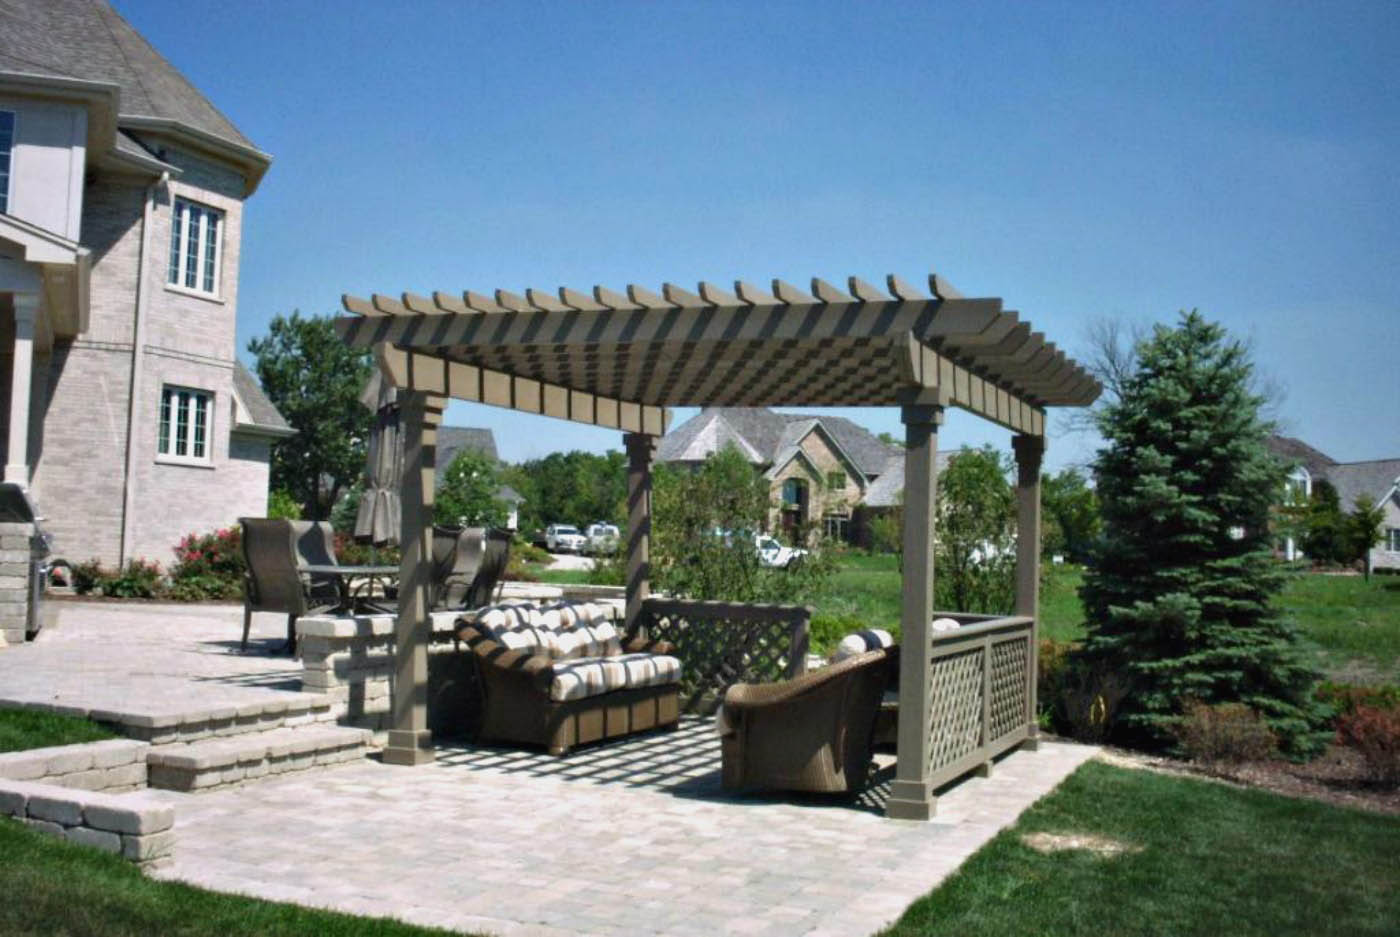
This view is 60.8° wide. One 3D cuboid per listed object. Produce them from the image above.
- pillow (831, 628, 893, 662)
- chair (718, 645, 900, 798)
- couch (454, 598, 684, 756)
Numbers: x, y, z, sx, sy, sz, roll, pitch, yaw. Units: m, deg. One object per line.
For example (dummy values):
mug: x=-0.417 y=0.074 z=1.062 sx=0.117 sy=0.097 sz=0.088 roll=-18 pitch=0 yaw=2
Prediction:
pillow: x=1.889 y=2.053 z=13.832 sx=0.471 sy=0.196 sz=0.359 roll=-3 pitch=-11 yaw=-44
chair: x=1.135 y=2.613 z=12.545 sx=1.563 sy=1.265 sz=1.545 roll=-2 pitch=-8 yaw=22
couch: x=-1.564 y=2.474 z=14.118 sx=1.394 sy=1.800 sz=2.403 roll=-8 pitch=-16 yaw=42
